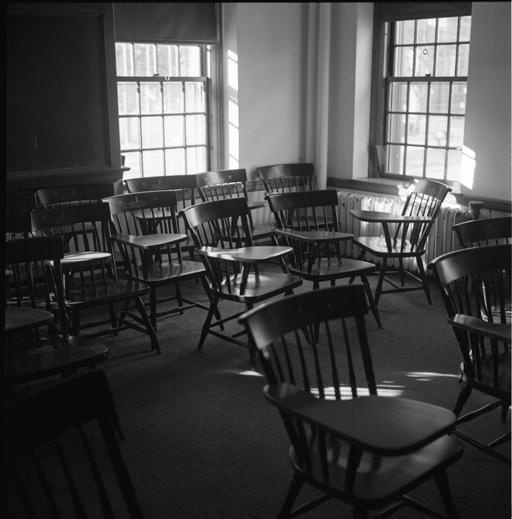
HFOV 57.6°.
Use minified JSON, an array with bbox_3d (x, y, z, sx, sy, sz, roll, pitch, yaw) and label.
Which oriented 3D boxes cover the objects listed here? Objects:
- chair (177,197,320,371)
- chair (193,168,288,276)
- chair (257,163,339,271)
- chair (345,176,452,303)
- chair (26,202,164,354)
[{"bbox_3d":[-0.013,0.022,2.017,0.557,0.895,0.496,11,19,38],"label":"chair"},{"bbox_3d":[-0.148,-0.227,2.373,0.245,0.426,0.260,-10,19,-11],"label":"chair"},{"bbox_3d":[0.233,-0.252,2.405,0.410,0.663,0.411,-8,12,-28],"label":"chair"},{"bbox_3d":[0.701,-0.086,2.284,0.441,0.606,0.460,7,11,39],"label":"chair"},{"bbox_3d":[-0.594,0.080,1.700,0.276,0.565,0.316,-15,13,-43],"label":"chair"}]
